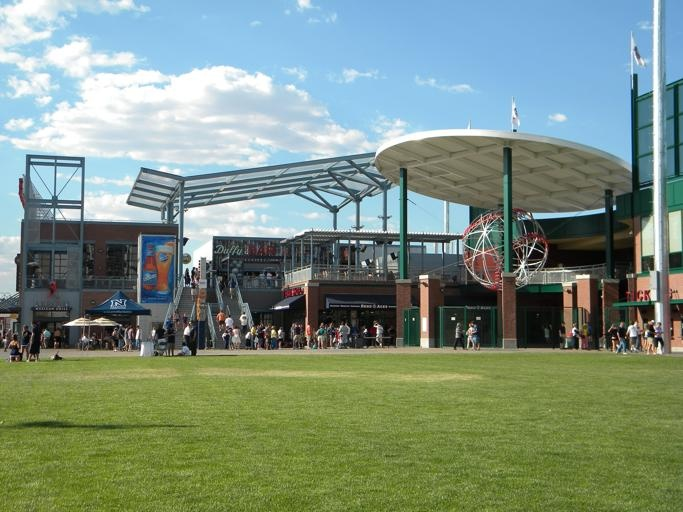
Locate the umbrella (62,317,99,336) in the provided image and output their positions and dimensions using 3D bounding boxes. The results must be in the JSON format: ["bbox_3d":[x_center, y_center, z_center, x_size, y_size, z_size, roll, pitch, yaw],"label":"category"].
[{"bbox_3d":[-16.314,4.428,54.224,1.528,0.802,1.556,-2,-8,15],"label":"umbrella"}]

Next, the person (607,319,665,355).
[{"bbox_3d":[14.192,3.949,41.699,1.867,1.295,0.710,1,-17,-1],"label":"person"}]

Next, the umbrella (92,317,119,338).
[{"bbox_3d":[-14.564,4.405,53.273,1.554,0.720,1.641,4,-3,21],"label":"umbrella"}]

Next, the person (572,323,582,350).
[{"bbox_3d":[12.753,4.342,47.035,0.463,1.310,1.804,-3,-8,16],"label":"person"}]

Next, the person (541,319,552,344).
[{"bbox_3d":[12.905,4.772,54.481,0.472,1.580,2.456,-3,-8,10],"label":"person"}]
